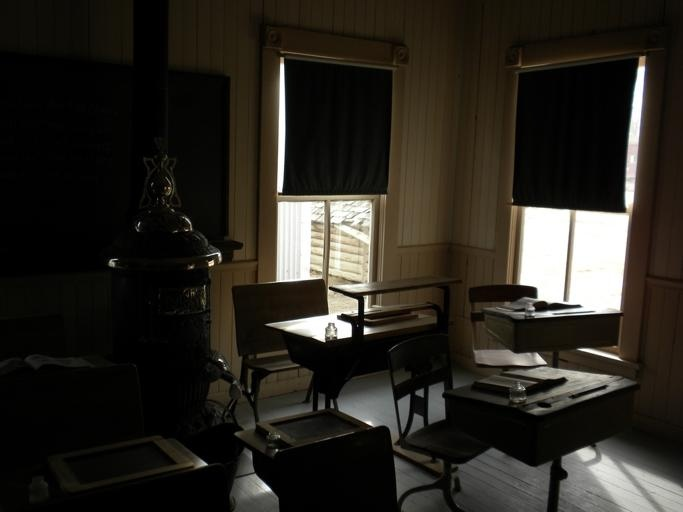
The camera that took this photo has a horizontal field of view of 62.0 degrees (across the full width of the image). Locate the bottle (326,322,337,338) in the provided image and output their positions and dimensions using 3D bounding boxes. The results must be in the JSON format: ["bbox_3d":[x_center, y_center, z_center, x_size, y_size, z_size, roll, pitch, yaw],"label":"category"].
[{"bbox_3d":[-0.064,0.511,3.934,0.074,0.142,0.091,0,2,13],"label":"bottle"}]

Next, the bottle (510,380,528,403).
[{"bbox_3d":[1.005,0.769,3.220,0.087,0.118,0.108,-1,5,11],"label":"bottle"}]

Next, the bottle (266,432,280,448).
[{"bbox_3d":[-0.356,0.965,2.975,0.050,0.061,0.052,-3,8,-21],"label":"bottle"}]
